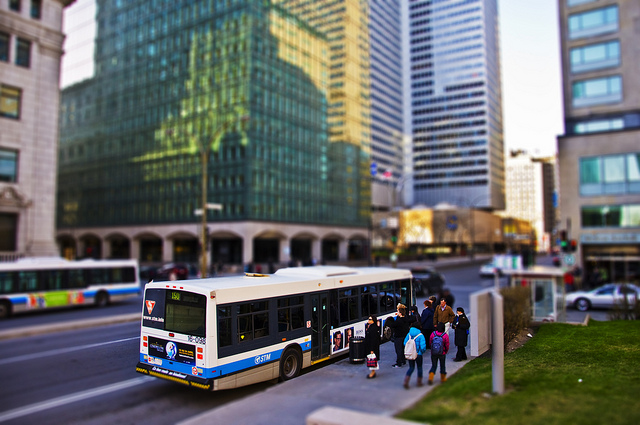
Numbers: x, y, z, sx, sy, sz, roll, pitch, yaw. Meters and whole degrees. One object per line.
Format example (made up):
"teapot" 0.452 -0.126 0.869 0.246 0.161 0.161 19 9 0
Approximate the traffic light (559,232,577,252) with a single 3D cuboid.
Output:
"traffic light" 14.455 1.719 34.585 0.969 1.137 0.797 0 -5 -23

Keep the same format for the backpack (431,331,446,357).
"backpack" 5.016 5.751 25.399 0.457 0.848 0.801 0 6 12

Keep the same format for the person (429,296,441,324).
"person" 5.480 4.715 28.429 0.298 1.115 1.067 -4 -10 6

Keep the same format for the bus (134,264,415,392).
"bus" -1.195 5.420 29.222 14.884 5.383 3.887 2 -7 -38

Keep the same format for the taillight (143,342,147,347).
"taillight" -7.690 5.789 26.100 0.179 0.199 0.047 2 -5 1

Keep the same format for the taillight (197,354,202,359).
"taillight" -5.070 6.049 24.984 0.147 0.103 0.156 -3 -8 21

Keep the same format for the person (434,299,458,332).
"person" 5.963 5.295 28.431 1.051 2.516 0.638 3 16 23

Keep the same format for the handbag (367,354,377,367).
"handbag" 2.308 6.557 26.364 0.455 0.466 0.469 7 -15 -25

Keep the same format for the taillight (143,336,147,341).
"taillight" -7.704 5.540 26.116 0.149 0.161 0.111 2 5 -4
